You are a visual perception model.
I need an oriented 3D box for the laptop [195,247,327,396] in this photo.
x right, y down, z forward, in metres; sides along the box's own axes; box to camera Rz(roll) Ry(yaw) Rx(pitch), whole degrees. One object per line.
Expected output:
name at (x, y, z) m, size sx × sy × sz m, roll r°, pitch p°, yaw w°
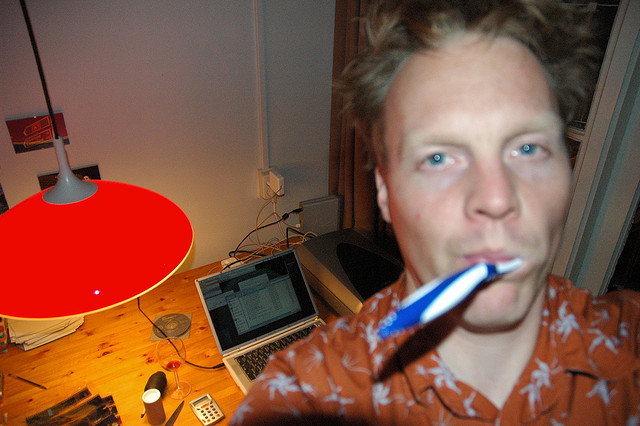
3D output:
laptop at (-0.171, 0.416, 1.765) m, size 0.593 × 0.317 × 0.592 m, roll -11°, pitch 17°, yaw -11°

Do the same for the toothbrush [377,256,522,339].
toothbrush at (0.273, 0.148, 0.876) m, size 0.362 × 0.079 × 0.073 m, roll -24°, pitch 49°, yaw -16°
